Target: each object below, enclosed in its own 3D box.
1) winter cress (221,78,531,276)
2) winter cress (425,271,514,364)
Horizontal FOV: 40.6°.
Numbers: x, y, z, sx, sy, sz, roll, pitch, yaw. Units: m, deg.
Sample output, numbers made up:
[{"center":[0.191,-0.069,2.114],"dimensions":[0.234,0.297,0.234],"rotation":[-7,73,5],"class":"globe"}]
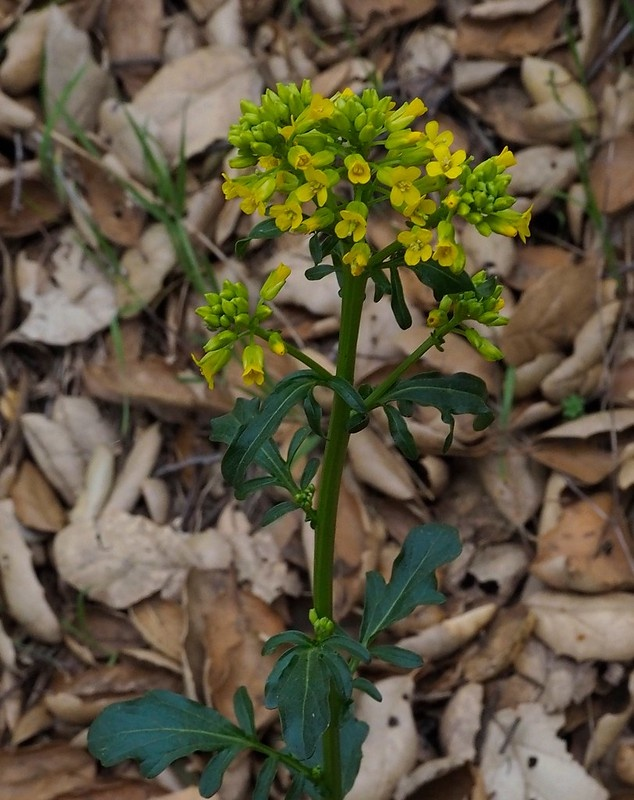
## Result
[{"center":[0.104,-0.487,2.025],"dimensions":[0.820,0.424,0.419],"rotation":[5,49,0],"class":"winter cress"},{"center":[0.350,-0.199,2.188],"dimensions":[0.279,0.198,0.233],"rotation":[2,82,33],"class":"winter cress"}]
